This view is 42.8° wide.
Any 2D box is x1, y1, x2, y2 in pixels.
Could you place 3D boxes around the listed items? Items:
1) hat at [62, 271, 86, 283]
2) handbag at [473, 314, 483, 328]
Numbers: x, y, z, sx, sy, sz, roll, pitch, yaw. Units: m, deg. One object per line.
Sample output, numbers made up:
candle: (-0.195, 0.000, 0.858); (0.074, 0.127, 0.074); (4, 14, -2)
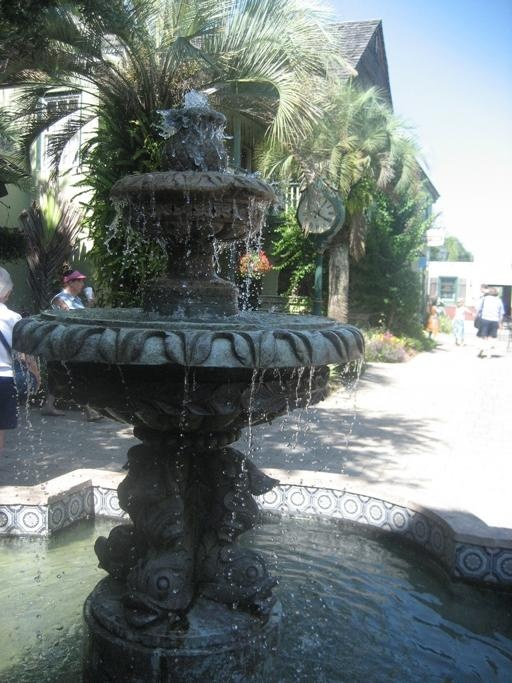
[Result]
hat: (-1.981, -0.715, 7.183); (0.196, 0.085, 0.139); (-4, 6, -33)
handbag: (5.831, -0.522, 17.178); (0.156, 0.653, 0.196); (1, -3, -7)
